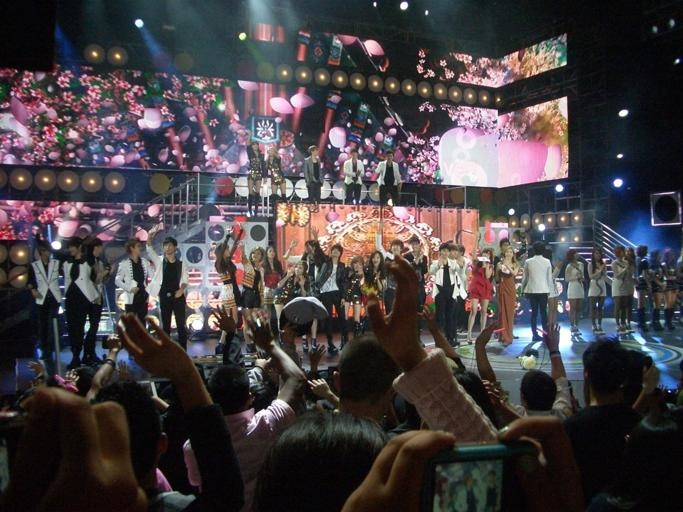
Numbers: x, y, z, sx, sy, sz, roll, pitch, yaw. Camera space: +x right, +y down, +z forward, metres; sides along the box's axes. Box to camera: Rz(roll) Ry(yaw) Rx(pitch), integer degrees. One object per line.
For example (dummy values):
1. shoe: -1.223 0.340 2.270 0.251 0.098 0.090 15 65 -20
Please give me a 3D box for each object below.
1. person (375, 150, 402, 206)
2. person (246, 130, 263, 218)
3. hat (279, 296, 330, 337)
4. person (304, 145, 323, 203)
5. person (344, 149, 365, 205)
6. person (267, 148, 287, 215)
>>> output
1. person: 1.027 -1.685 11.565 0.485 1.253 1.292 0 1 5
2. person: -1.721 -1.521 10.691 0.318 1.490 0.781 0 1 -10
3. hat: -0.266 0.405 3.925 0.297 0.148 0.300 -17 24 -30
4. person: -0.582 -1.680 10.876 0.352 1.270 0.912 0 1 -4
5. person: 0.260 -1.676 11.564 0.356 1.133 0.892 0 1 3
6. person: -1.326 -1.588 10.852 0.356 1.303 1.372 0 1 -7
